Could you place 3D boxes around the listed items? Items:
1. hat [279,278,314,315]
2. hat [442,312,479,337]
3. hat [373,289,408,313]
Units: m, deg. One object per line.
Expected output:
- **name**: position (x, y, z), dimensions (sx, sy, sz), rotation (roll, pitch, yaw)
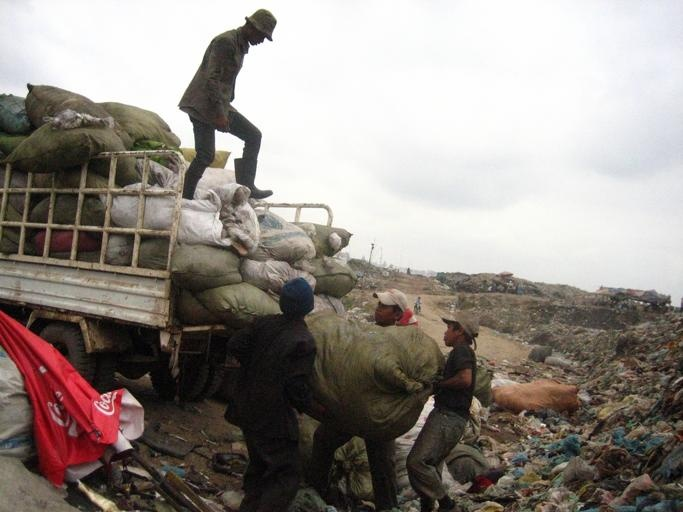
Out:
- **hat**: position (-0.290, 0.269, 3.199), dimensions (0.235, 0.256, 0.259), rotation (13, 22, 33)
- **hat**: position (1.108, 0.596, 3.982), dimensions (0.338, 0.197, 0.224), rotation (10, -8, 9)
- **hat**: position (0.484, 0.410, 4.175), dimensions (0.284, 0.149, 0.194), rotation (26, 0, -20)
